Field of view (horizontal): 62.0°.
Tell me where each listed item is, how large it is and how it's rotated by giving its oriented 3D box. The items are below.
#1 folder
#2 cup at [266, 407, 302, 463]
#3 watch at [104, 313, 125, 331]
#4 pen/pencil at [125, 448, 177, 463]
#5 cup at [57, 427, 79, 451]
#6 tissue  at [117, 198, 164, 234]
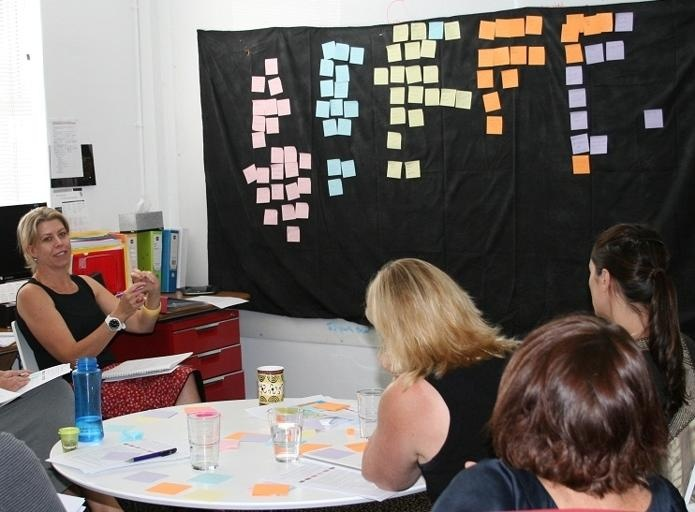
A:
[{"bbox_3d":[-1.295,-0.038,3.885,0.360,0.496,0.475,-6,7,-38],"label":"folder"},{"bbox_3d":[-0.175,0.512,1.694,0.138,0.170,0.131,-1,-4,0],"label":"cup"},{"bbox_3d":[-1.104,0.320,2.770,0.060,0.094,0.086,-47,18,-12],"label":"watch"},{"bbox_3d":[-0.575,0.587,1.695,0.124,0.018,0.018,-5,5,-43],"label":"pen/pencil"},{"bbox_3d":[-0.863,0.564,1.813,0.072,0.069,0.073,0,-5,0],"label":"cup"},{"bbox_3d":[-1.349,-0.227,3.848,0.212,0.257,0.316,1,3,26],"label":"tissue "}]
